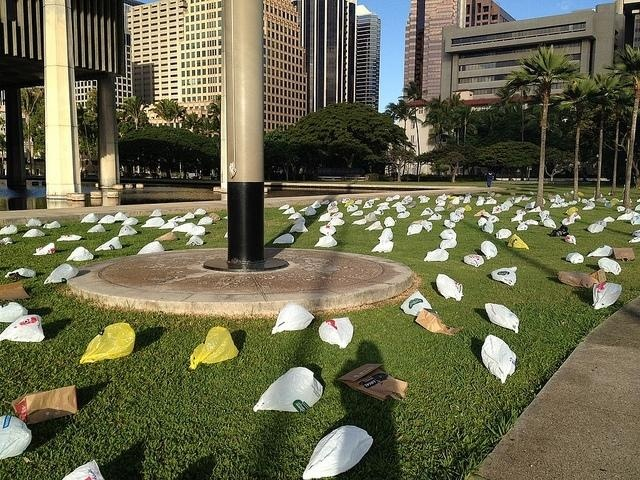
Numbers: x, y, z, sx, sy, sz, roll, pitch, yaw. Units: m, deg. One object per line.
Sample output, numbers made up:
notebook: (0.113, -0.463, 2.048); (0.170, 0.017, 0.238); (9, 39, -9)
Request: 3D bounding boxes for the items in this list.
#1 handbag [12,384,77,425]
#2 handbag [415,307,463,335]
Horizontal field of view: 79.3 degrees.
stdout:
handbag: (-1.984, 1.175, 2.787); (0.373, 0.241, 0.100); (-6, -8, -41)
handbag: (1.346, 0.964, 4.507); (0.245, 0.127, 0.326); (2, 18, -44)
